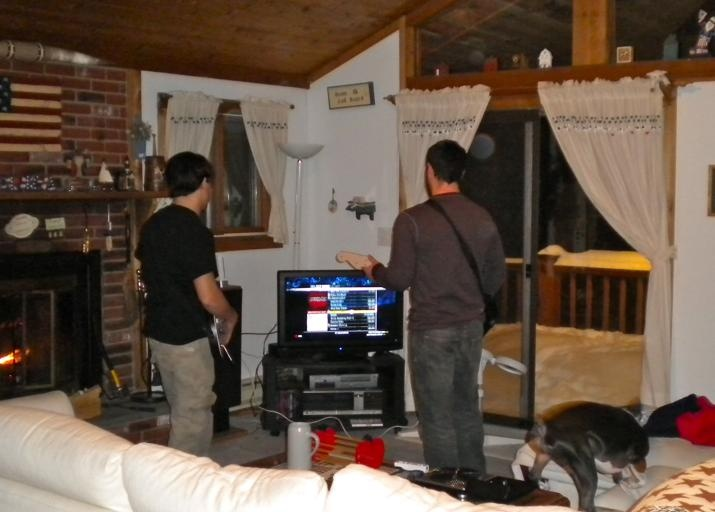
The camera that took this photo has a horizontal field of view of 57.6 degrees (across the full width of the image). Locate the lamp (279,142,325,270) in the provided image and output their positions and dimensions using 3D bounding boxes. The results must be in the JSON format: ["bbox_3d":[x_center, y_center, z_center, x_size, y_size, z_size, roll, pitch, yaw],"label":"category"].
[{"bbox_3d":[-0.498,-0.446,5.865,0.379,1.112,0.510,-1,1,0],"label":"lamp"}]

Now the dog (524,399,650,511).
[{"bbox_3d":[1.113,0.884,3.120,0.550,0.405,0.470,2,6,-18],"label":"dog"}]

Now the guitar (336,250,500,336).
[{"bbox_3d":[0.358,0.093,3.733,1.030,0.403,0.241,18,26,13],"label":"guitar"}]

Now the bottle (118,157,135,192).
[{"bbox_3d":[-1.679,-0.602,4.752,0.143,0.209,0.145,0,5,0],"label":"bottle"}]

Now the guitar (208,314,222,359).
[{"bbox_3d":[-0.811,0.472,3.758,0.087,0.255,0.038,1,30,11],"label":"guitar"}]

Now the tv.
[{"bbox_3d":[-0.171,0.427,4.856,0.775,0.516,0.221,1,0,0],"label":"tv"}]

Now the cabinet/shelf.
[{"bbox_3d":[-0.095,1.065,5.122,1.126,0.556,0.692,-5,5,11],"label":"cabinet/shelf"}]
